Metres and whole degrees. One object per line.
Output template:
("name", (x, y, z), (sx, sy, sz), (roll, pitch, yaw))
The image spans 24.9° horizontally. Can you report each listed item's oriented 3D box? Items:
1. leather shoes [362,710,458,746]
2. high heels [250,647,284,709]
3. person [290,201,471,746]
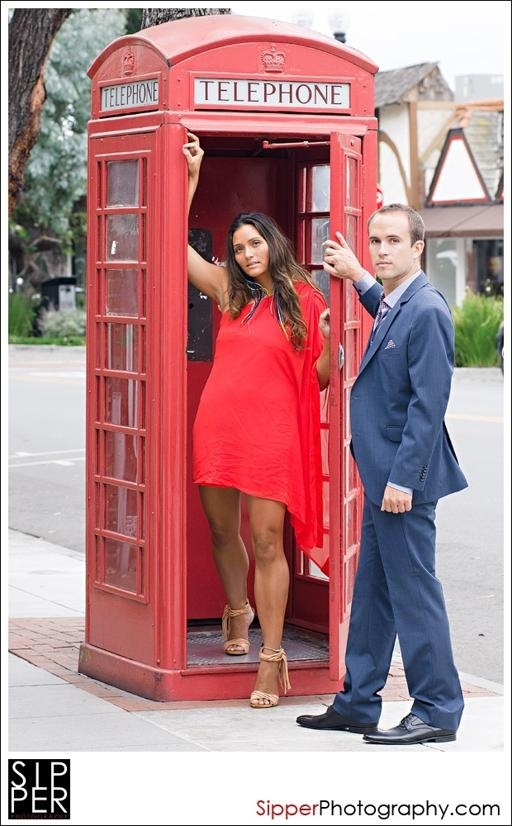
("leather shoes", (0.550, 1.127, 4.140), (0.318, 0.137, 0.117), (2, -10, -1))
("high heels", (0.054, 1.067, 4.671), (0.086, 0.224, 0.179), (1, 0, 39))
("person", (0.475, 0.225, 4.242), (0.427, 1.864, 0.689), (1, 0, -30))
